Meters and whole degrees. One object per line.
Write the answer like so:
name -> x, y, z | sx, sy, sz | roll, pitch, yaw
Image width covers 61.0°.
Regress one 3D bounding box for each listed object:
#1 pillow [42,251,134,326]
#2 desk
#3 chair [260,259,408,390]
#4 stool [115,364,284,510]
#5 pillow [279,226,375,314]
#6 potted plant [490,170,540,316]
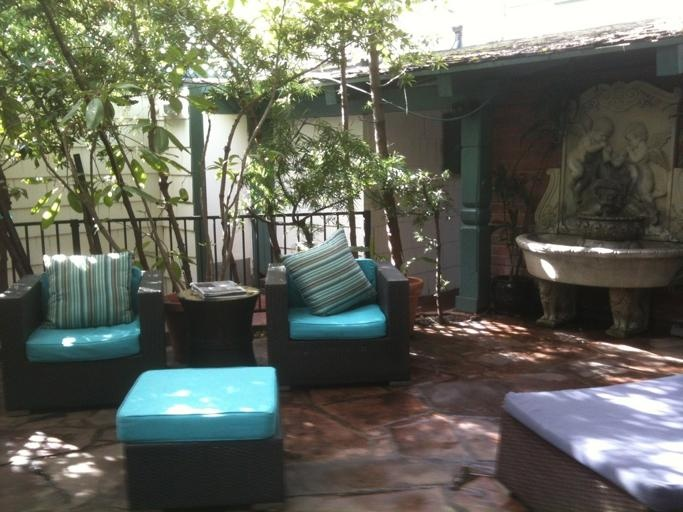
pillow -> -1.806, 0.250, 4.090 | 0.495, 0.425, 0.166 | -4, -18, -11
desk -> -1.006, 0.583, 4.515 | 0.732, 0.540, 0.754 | 11, 4, 17
chair -> -0.033, 0.490, 4.260 | 0.954, 0.736, 0.915 | -1, 9, -4
stool -> -0.674, 0.911, 2.881 | 0.649, 0.396, 0.857 | 0, 2, -5
pillow -> -0.120, 0.142, 4.432 | 0.599, 0.575, 0.183 | -28, 0, -33
potted plant -> 1.887, -0.196, 6.304 | 0.569, 1.554, 0.800 | 3, 14, 13
